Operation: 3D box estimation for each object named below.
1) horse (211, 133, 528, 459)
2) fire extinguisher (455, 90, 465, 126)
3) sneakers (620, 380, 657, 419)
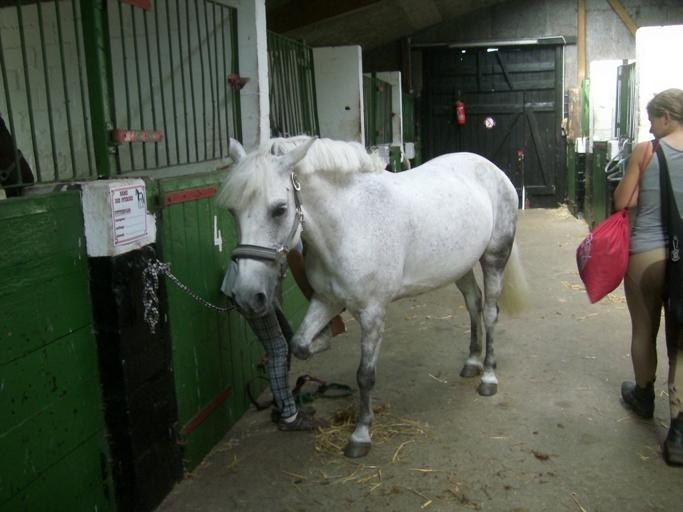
[{"bbox_3d":[0.412,0.170,3.384,2.362,1.885,0.598,-11,14,-35],"label":"horse"},{"bbox_3d":[2.599,-3.257,11.490,0.221,0.760,0.225,1,11,13],"label":"fire extinguisher"},{"bbox_3d":[1.871,0.890,3.361,0.096,0.195,0.263,-8,25,4],"label":"sneakers"}]
